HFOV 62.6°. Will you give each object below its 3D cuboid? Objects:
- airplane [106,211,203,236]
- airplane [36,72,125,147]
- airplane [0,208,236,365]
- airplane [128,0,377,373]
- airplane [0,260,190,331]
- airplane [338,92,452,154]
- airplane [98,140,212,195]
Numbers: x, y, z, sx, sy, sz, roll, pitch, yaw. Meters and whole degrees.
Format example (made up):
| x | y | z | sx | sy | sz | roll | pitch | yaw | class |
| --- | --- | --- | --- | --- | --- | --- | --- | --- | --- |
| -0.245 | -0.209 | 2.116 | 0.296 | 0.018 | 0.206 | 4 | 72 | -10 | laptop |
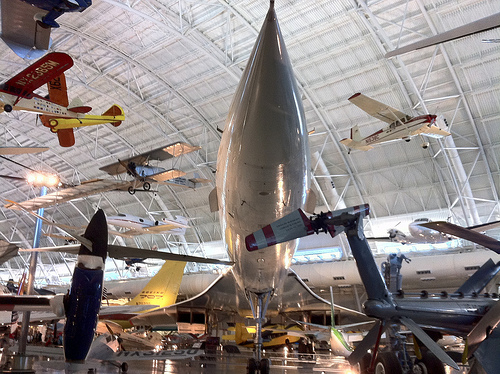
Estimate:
| x | y | z | sx | sy | sz | roll | pitch | yaw | class |
| --- | --- | --- | --- | --- | --- | --- | --- | --- | --- |
| -6.832 | 2.473 | 26.904 | 2.990 | 0.847 | 2.843 | 18 | -22 | -34 | airplane |
| -8.011 | -3.869 | 20.244 | 3.743 | 1.166 | 4.098 | 2 | -39 | -12 | airplane |
| -3.704 | 2.314 | 10.349 | 4.781 | 3.489 | 1.184 | 9 | -15 | 1 | airplane |
| 0.261 | -0.126 | 11.589 | 6.401 | 8.218 | 3.007 | 2 | 20 | 1 | airplane |
| -5.851 | 4.864 | 18.740 | 5.965 | 2.296 | 5.334 | -3 | -21 | 12 | airplane |
| 7.021 | -3.272 | 21.457 | 4.886 | 1.366 | 4.006 | 33 | -21 | -27 | airplane |
| -5.513 | -1.828 | 24.940 | 4.568 | 1.278 | 4.182 | -17 | -23 | 41 | airplane |
